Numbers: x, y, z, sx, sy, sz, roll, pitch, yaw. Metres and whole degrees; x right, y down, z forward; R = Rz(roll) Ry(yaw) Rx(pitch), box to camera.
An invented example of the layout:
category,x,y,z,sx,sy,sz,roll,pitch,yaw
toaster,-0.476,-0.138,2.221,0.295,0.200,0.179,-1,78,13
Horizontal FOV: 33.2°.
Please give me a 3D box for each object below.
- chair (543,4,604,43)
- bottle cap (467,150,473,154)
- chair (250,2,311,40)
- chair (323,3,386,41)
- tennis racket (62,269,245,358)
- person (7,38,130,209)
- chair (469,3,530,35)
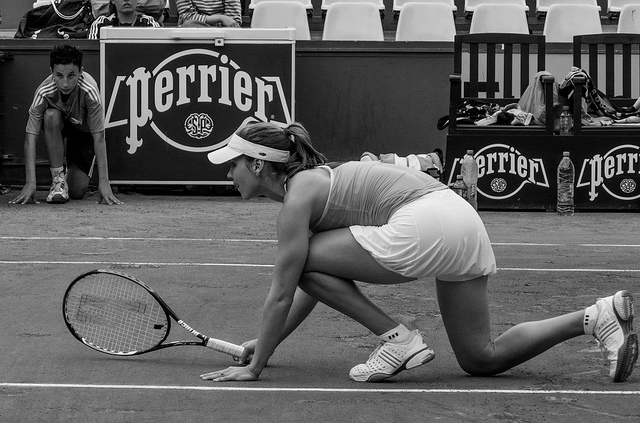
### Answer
category,x,y,z,sx,sy,sz,roll,pitch,yaw
chair,3.804,-2.868,16.157,1.136,0.641,0.841,0,0,0
bottle cap,1.868,-0.739,13.300,0.044,0.028,0.044,-1,0,-18
chair,-0.544,-2.909,16.250,0.841,0.499,0.662,0,-1,1
chair,0.514,-2.713,16.169,0.913,0.806,0.675,1,8,3
tennis racket,-1.363,0.770,8.149,1.154,0.669,0.244,1,7,2
person,-3.191,-1.121,13.781,1.186,1.999,0.937,-1,7,-15
chair,2.668,-2.875,15.968,0.932,0.386,0.890,0,6,1
